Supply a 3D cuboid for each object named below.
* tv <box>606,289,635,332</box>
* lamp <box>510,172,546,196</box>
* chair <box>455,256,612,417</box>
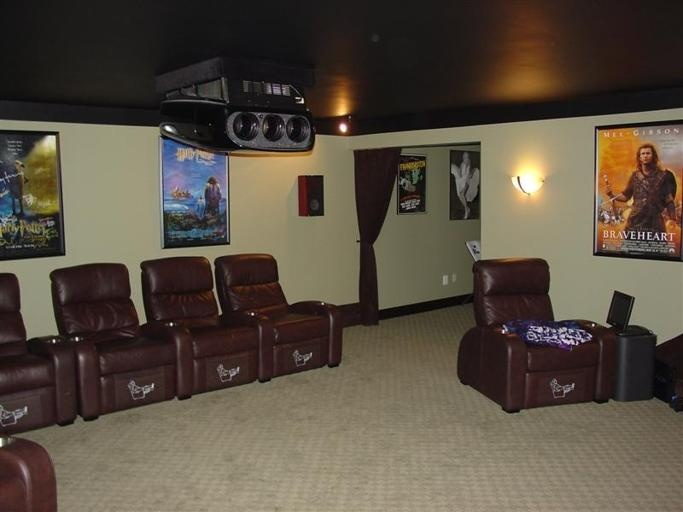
[{"bbox_3d":[2.789,0.548,5.091,0.045,0.340,0.343,13,11,-8],"label":"tv"},{"bbox_3d":[2.234,-0.854,6.155,0.276,0.180,0.257,2,3,8],"label":"lamp"},{"bbox_3d":[1.925,0.723,5.198,1.129,1.272,1.249,-3,3,-10],"label":"chair"}]
